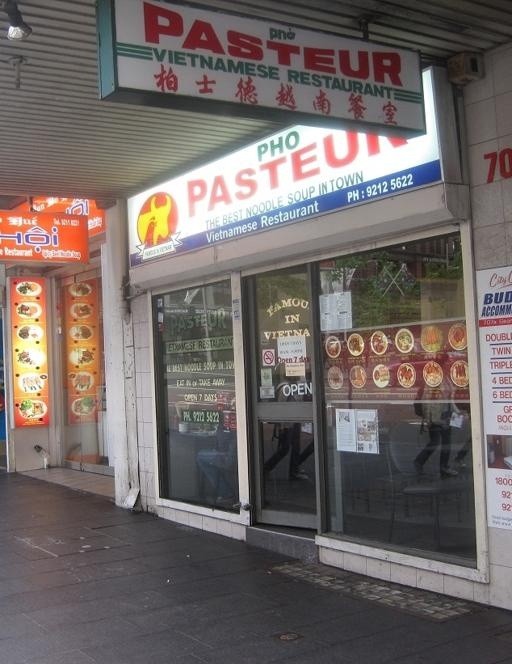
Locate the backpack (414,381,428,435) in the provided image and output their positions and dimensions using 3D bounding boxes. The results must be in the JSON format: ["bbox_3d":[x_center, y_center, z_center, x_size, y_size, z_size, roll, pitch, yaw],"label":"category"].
[{"bbox_3d":[1.127,0.536,4.211,0.078,0.238,0.184,-7,9,-6],"label":"backpack"}]

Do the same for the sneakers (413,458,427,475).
[{"bbox_3d":[1.131,0.931,4.259,0.041,0.113,0.084,-5,4,5],"label":"sneakers"}]
